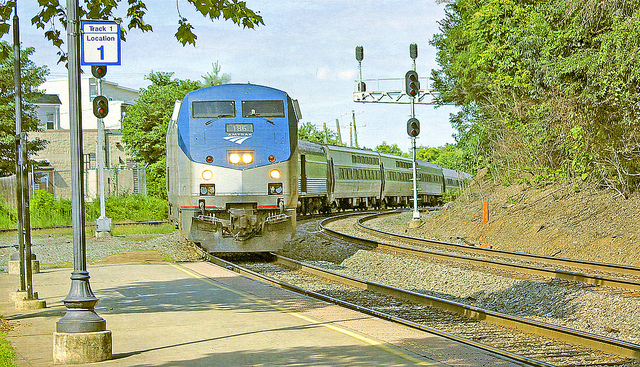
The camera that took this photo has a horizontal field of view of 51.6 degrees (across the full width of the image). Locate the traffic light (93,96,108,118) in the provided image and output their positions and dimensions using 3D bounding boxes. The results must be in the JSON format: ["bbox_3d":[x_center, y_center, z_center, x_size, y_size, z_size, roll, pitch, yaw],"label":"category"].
[{"bbox_3d":[-9.186,-3.248,27.663,0.546,0.866,0.708,-1,5,-19],"label":"traffic light"}]
